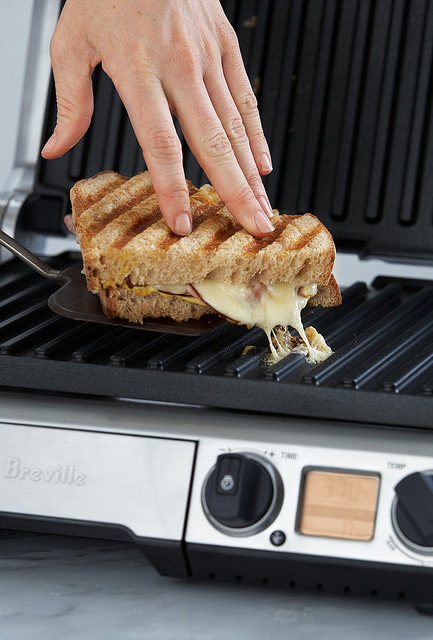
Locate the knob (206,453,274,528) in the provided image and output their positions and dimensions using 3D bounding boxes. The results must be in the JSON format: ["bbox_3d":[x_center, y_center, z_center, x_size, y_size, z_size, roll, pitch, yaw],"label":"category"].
[{"bbox_3d":[0.021,0.155,0.544,0.060,0.063,0.017,2,9,5],"label":"knob"}]

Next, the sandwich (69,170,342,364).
[{"bbox_3d":[-0.039,-0.092,0.730,0.334,0.226,0.224,-7,18,-18],"label":"sandwich"}]
